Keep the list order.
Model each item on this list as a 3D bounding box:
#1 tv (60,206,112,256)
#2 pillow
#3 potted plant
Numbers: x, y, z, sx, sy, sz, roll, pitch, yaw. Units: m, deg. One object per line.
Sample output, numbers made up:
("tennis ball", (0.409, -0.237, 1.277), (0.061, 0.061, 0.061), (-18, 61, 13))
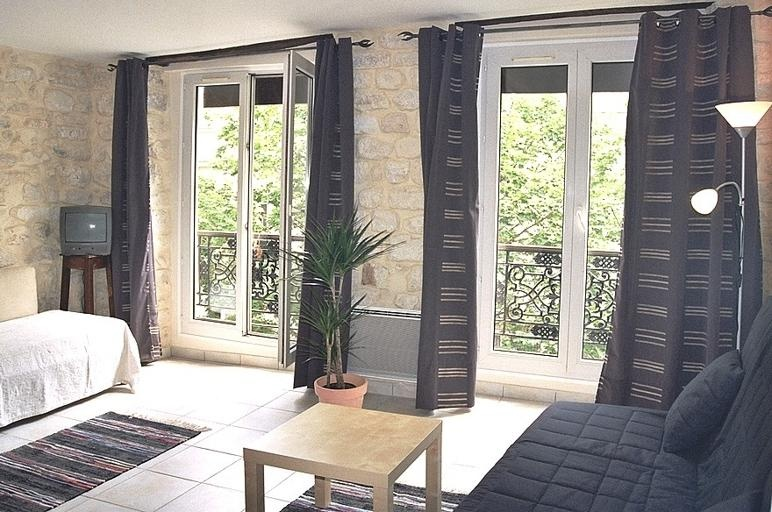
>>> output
("tv", (-3.063, -0.259, 5.679), (0.589, 0.542, 0.358), (0, -1, -39))
("pillow", (1.913, 0.897, 3.379), (0.391, 0.479, 0.699), (4, 0, 24))
("potted plant", (-0.418, 0.379, 4.970), (0.872, 1.542, 0.937), (-3, 9, -15))
